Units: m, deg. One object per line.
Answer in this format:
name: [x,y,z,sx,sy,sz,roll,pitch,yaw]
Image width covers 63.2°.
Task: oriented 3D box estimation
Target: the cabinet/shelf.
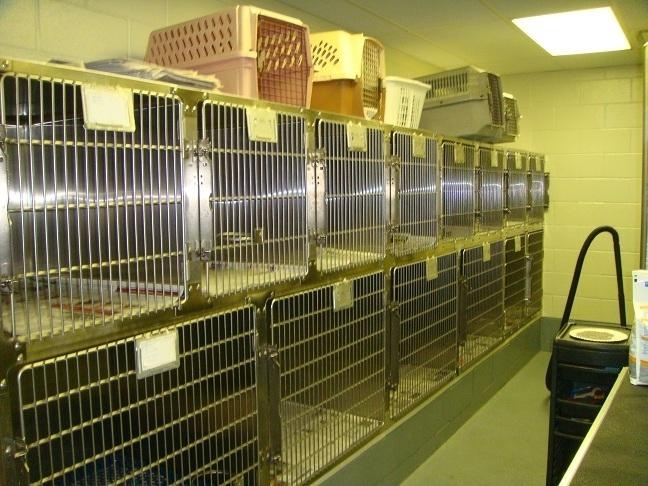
cabinet/shelf: [1.525,0.938,3.049,0.403,0.828,0.476,1,8,28]
